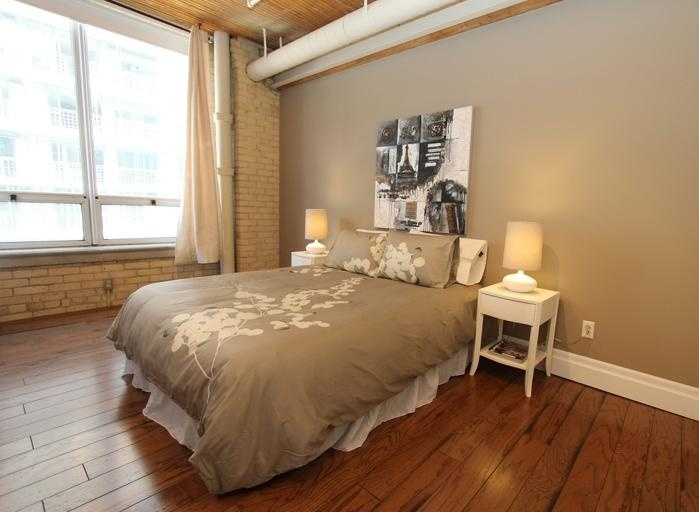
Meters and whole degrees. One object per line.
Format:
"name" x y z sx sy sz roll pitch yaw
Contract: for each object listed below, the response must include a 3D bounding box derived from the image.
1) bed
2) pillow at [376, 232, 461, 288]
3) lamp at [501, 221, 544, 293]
"bed" -0.127 0.655 3.086 1.869 0.737 1.635 -7 13 -40
"pillow" 0.583 0.035 4.022 0.676 0.456 0.275 10 14 30
"lamp" 1.394 0.009 3.523 0.265 0.571 0.238 6 11 31
